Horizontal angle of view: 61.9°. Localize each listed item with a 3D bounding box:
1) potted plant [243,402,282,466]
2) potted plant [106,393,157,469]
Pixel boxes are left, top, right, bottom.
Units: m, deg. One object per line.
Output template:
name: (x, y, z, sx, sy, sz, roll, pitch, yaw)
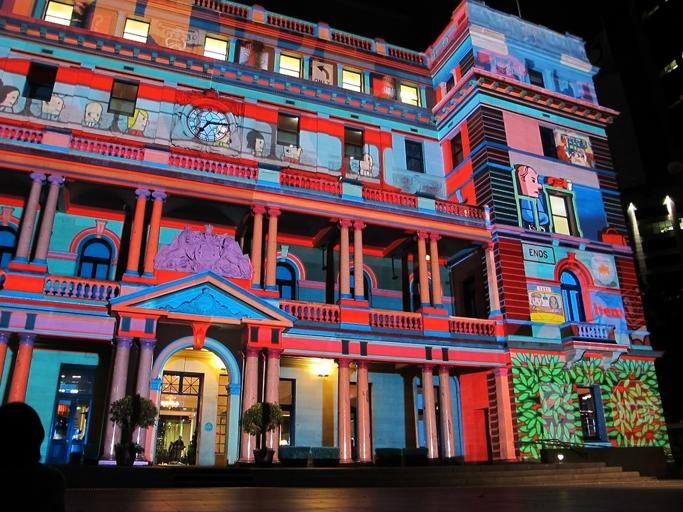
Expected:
potted plant: (-2.989, 6.540, 21.061, 1.351, 2.170, 0.865, 15, -26, -32)
potted plant: (-7.360, 6.011, 19.729, 1.398, 2.378, 1.366, -9, -24, 20)
